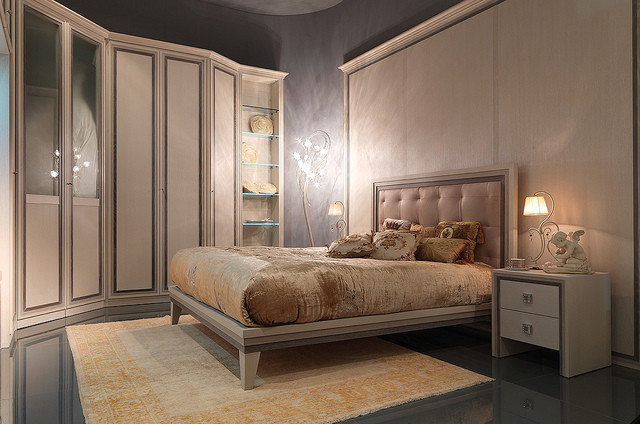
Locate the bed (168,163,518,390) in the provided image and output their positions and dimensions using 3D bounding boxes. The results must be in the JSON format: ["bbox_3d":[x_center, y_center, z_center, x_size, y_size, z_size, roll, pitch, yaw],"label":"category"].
[{"bbox_3d":[0.327,0.507,5.615,3.663,1.905,3.930,2,-2,-26],"label":"bed"}]

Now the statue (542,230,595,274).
[{"bbox_3d":[2.255,0.354,3.918,0.429,0.368,0.288,-2,-2,25],"label":"statue"}]

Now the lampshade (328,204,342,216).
[{"bbox_3d":[0.226,-0.034,6.392,0.162,0.121,0.158,2,0,-30],"label":"lampshade"}]

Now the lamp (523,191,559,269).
[{"bbox_3d":[2.153,0.167,4.171,0.354,0.773,0.230,1,-5,31],"label":"lamp"}]

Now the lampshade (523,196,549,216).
[{"bbox_3d":[2.064,-0.058,4.121,0.196,0.149,0.193,-2,0,-17],"label":"lampshade"}]

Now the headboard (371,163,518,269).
[{"bbox_3d":[1.360,0.178,5.243,0.154,1.337,1.970,0,-1,-45],"label":"headboard"}]
